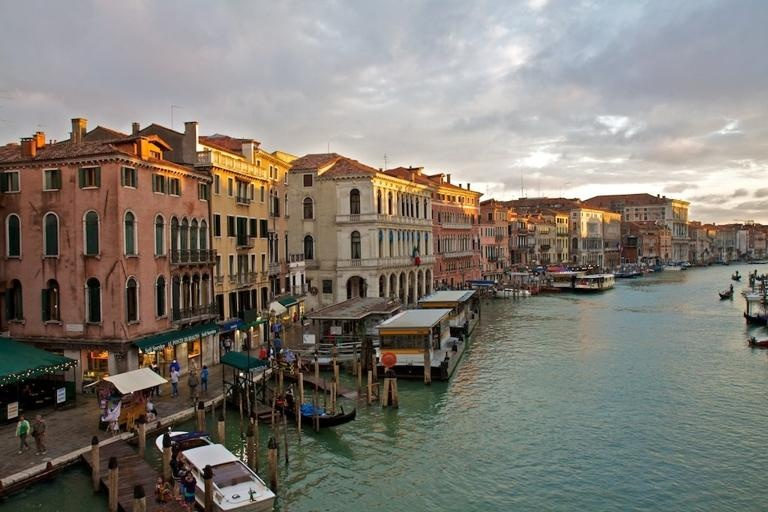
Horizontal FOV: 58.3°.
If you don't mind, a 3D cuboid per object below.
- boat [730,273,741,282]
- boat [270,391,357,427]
[{"bbox_3d":[82.670,5.018,161.364,1.471,2.226,3.458,1,10,14],"label":"boat"},{"bbox_3d":[-5.179,11.309,49.373,5.868,1.844,2.003,6,14,22],"label":"boat"}]
